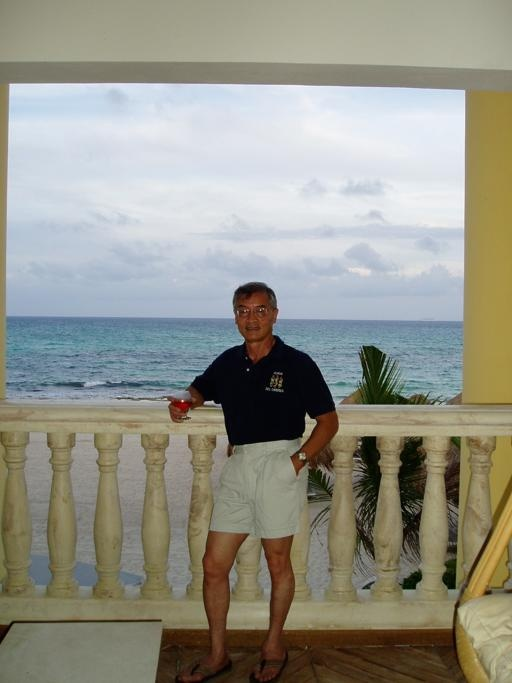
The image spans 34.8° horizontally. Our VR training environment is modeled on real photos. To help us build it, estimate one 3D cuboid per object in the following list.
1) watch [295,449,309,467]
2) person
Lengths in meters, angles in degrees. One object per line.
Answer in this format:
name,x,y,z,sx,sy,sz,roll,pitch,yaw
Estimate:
watch,0.201,0.499,3.482,0.055,0.074,0.071,3,46,14
person,0.008,0.599,3.576,0.716,1.719,0.204,-2,-2,7
